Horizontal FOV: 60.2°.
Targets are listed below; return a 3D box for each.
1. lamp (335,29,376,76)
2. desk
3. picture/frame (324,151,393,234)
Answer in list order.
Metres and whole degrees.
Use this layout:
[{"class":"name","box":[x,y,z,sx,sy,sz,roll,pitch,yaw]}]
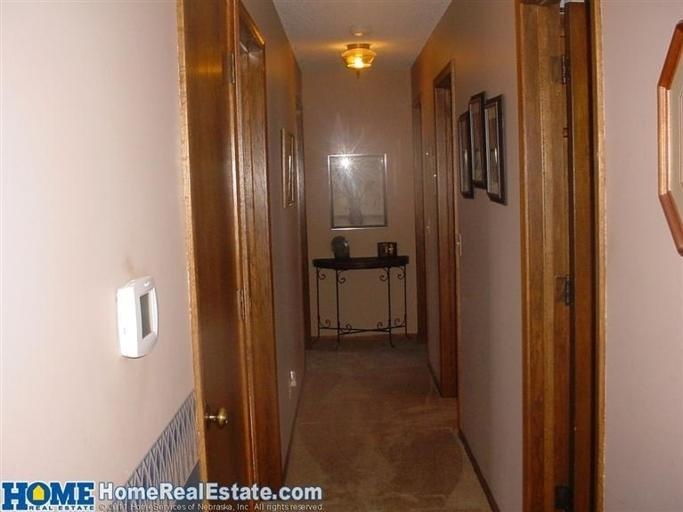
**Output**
[{"class":"lamp","box":[0.139,-1.708,4.939,0.238,0.339,0.254,-4,19,-10]},{"class":"desk","box":[0.215,0.461,6.278,1.060,0.959,0.415,-1,12,0]},{"class":"picture/frame","box":[0.167,-0.728,6.268,0.773,0.998,0.064,-2,4,-4]}]
